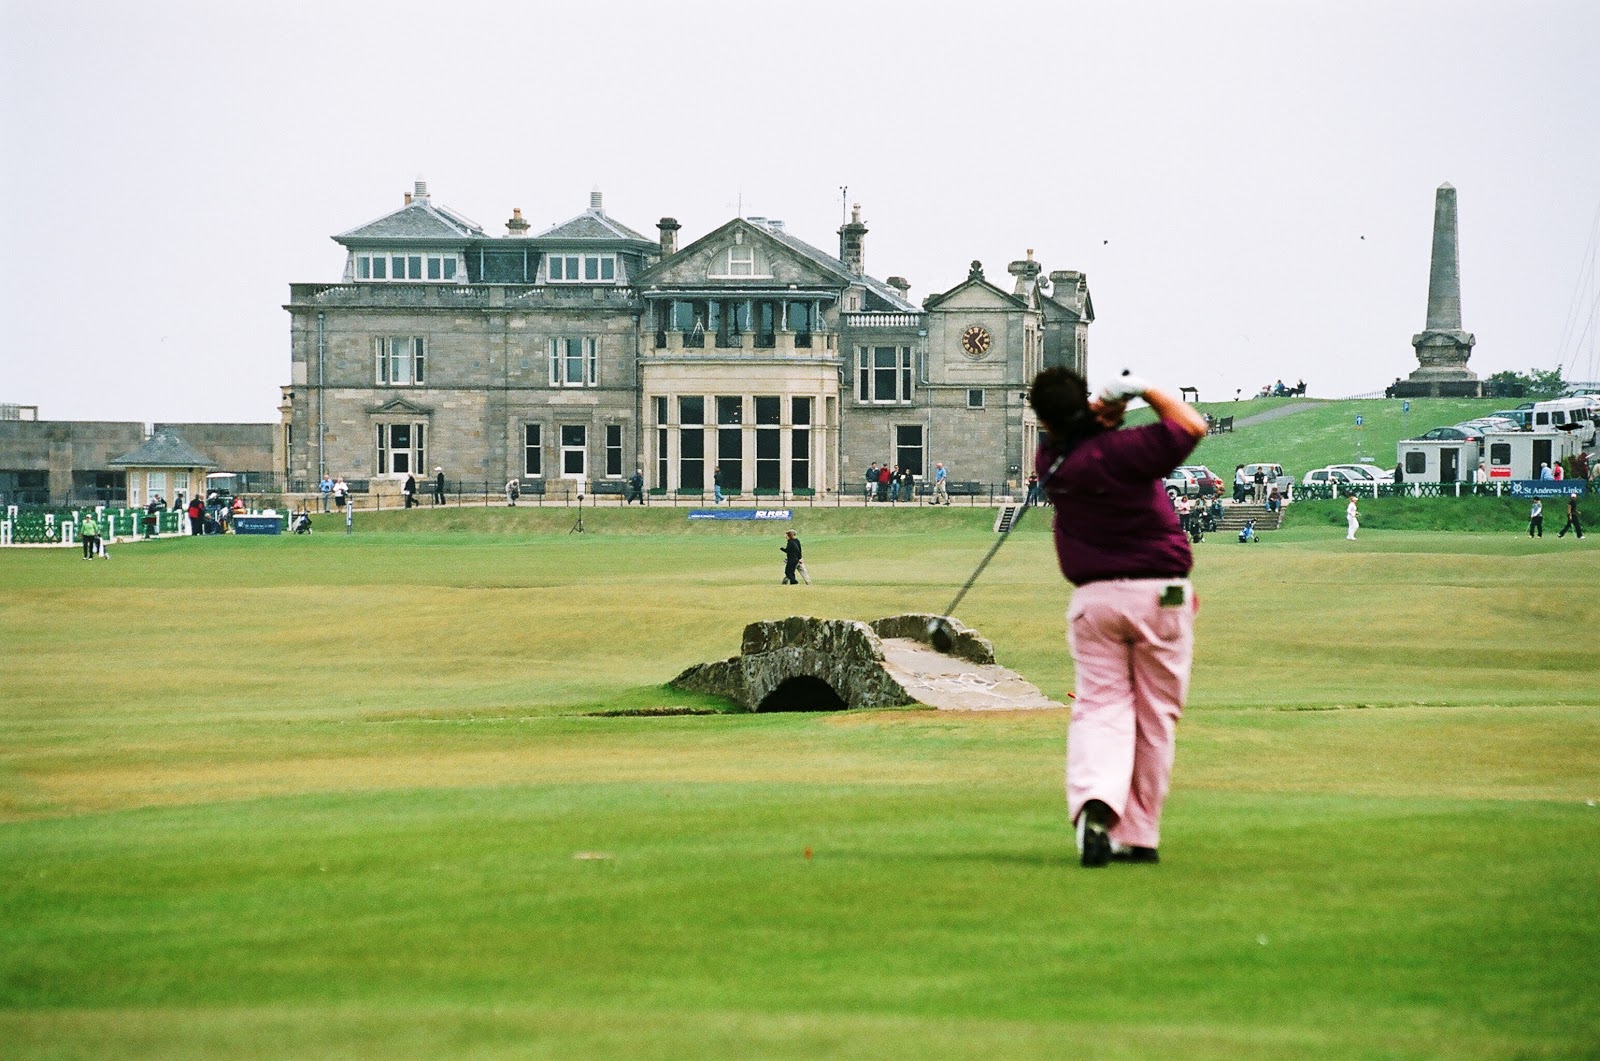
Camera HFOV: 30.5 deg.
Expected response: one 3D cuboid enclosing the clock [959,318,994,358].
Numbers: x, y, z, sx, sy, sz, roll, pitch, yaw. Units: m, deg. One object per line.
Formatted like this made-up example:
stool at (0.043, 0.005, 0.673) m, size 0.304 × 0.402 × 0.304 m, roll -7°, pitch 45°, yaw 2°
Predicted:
clock at (5.734, -6.175, 96.198) m, size 1.027 × 1.170 × 0.212 m, roll 1°, pitch 1°, yaw 1°
